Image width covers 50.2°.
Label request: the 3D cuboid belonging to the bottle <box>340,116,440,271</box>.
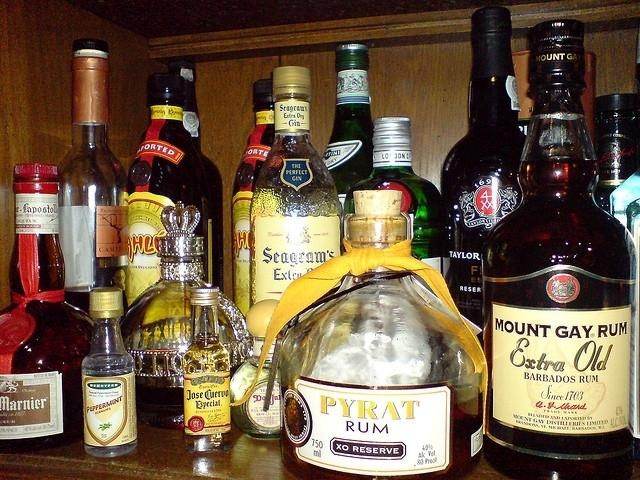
[{"bbox_3d":[0.116,-0.043,1.073,0.182,0.291,0.173,-1,8,0],"label":"bottle"}]
